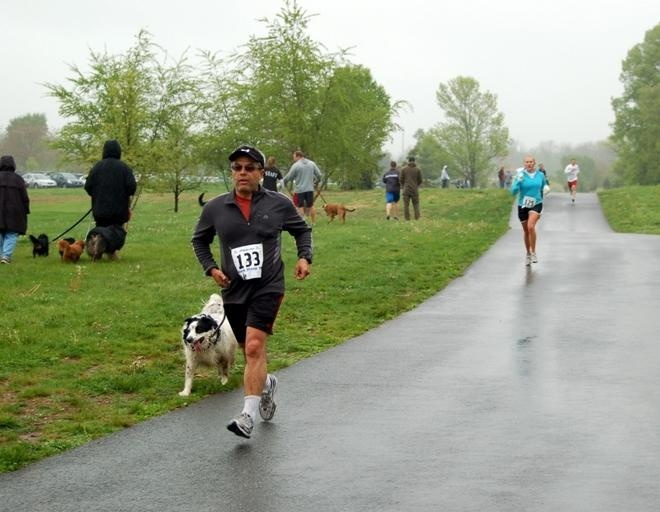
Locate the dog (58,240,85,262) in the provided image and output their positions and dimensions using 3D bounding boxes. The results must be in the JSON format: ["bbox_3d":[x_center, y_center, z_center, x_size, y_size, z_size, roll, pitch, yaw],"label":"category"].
[{"bbox_3d":[-5.757,-0.092,15.044,0.344,0.387,0.727,0,-5,-4],"label":"dog"}]

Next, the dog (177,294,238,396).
[{"bbox_3d":[-1.373,0.932,7.691,0.541,0.928,1.637,-4,5,-1],"label":"dog"}]

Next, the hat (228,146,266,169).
[{"bbox_3d":[-0.756,-0.916,6.193,0.304,0.183,0.167,-3,9,-17],"label":"hat"}]

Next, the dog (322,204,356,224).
[{"bbox_3d":[0.227,-1.549,24.775,0.852,0.659,1.404,0,8,-3],"label":"dog"}]

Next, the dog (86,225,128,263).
[{"bbox_3d":[-4.973,-0.365,14.963,0.543,0.930,1.674,6,7,6],"label":"dog"}]

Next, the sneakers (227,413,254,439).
[{"bbox_3d":[-0.748,1.447,5.720,0.153,0.165,0.205,3,9,22],"label":"sneakers"}]

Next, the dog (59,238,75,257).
[{"bbox_3d":[-5.903,-0.186,15.096,0.355,0.343,0.727,-3,9,-22],"label":"dog"}]

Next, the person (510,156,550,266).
[{"bbox_3d":[4.496,-1.019,15.194,0.697,2.422,1.342,2,9,17],"label":"person"}]

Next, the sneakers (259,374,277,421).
[{"bbox_3d":[-0.545,1.322,6.288,0.149,0.392,0.194,3,10,14],"label":"sneakers"}]

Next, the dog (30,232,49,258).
[{"bbox_3d":[-6.896,-0.242,16.019,0.375,0.550,1.067,-4,9,-24],"label":"dog"}]

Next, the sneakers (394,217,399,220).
[{"bbox_3d":[2.545,-1.368,25.120,0.146,0.054,0.084,5,1,-40],"label":"sneakers"}]

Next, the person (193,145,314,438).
[{"bbox_3d":[-0.690,0.232,6.160,1.073,2.444,1.305,-2,8,-13],"label":"person"}]

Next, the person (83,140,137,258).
[{"bbox_3d":[-4.697,-1.139,14.353,1.025,2.579,1.195,-3,9,-20],"label":"person"}]

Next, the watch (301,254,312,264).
[{"bbox_3d":[-0.209,0.038,6.338,0.089,0.081,0.084,1,-4,-3],"label":"watch"}]
